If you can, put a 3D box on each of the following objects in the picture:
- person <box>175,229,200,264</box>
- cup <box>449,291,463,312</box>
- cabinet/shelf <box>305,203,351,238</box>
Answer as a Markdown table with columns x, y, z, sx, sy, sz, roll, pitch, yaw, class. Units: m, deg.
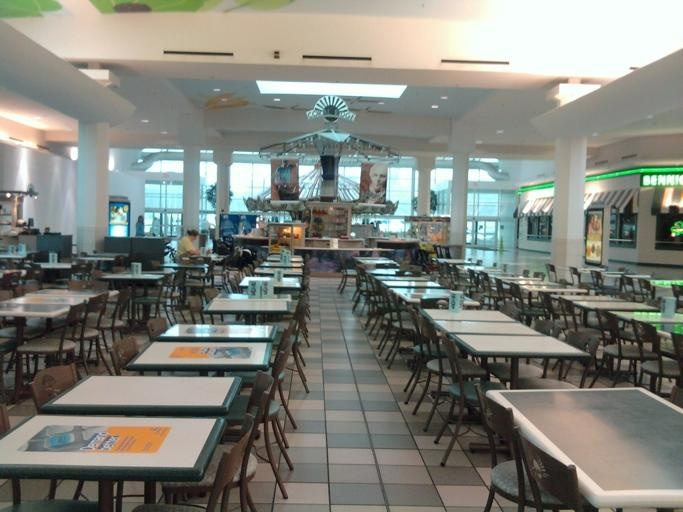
| x | y | z | sx | sy | sz | roll | pitch | yaw | class |
| --- | --- | --- | --- | --- | --- | --- | --- | --- | --- |
| -3.141 | -0.159 | 10.814 | 0.466 | 0.776 | 0.520 | 3 | 21 | -34 | person |
| 1.227 | 0.493 | 5.661 | 0.185 | 0.198 | 0.188 | 0 | -1 | 0 | cup |
| -0.430 | -1.224 | 18.319 | 1.358 | 1.255 | 0.557 | 0 | 0 | -3 | cabinet/shelf |
